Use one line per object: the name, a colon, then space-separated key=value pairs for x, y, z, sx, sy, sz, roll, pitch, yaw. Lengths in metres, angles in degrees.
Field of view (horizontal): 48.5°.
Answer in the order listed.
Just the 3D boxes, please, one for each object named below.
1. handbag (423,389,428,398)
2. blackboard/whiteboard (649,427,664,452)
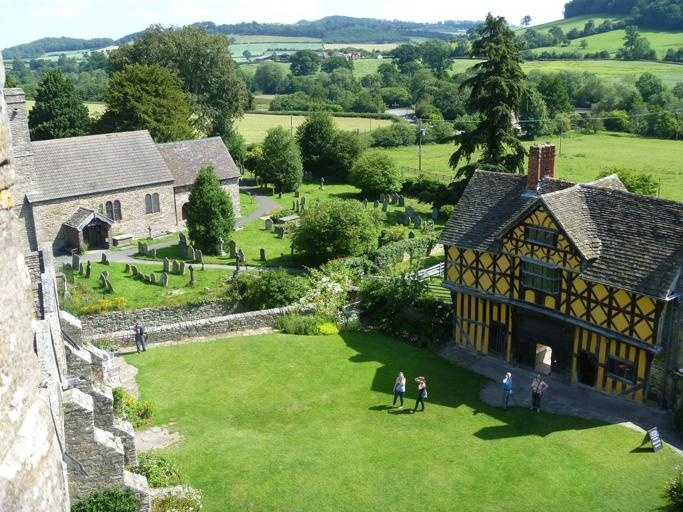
handbag: x=4.493 y=7.397 z=40.497 sx=0.242 sy=0.340 sz=0.834 roll=2 pitch=15 yaw=7
blackboard/whiteboard: x=15.529 y=9.096 z=37.363 sx=0.593 sy=0.856 sz=0.499 roll=-22 pitch=17 yaw=-14
